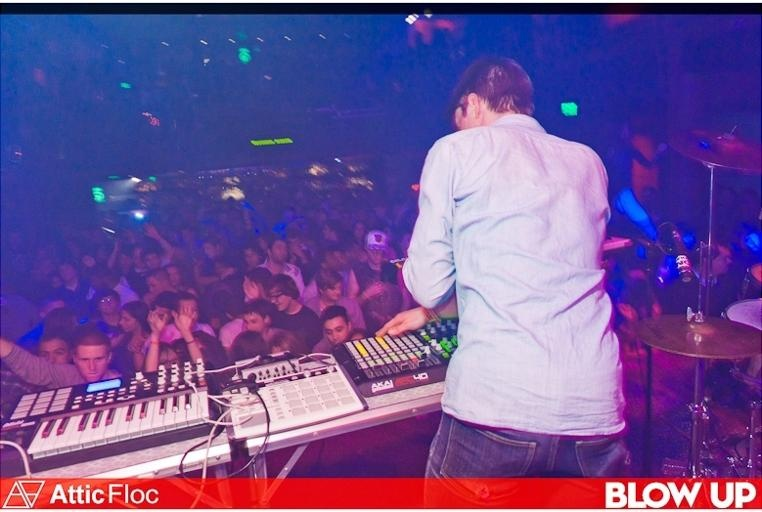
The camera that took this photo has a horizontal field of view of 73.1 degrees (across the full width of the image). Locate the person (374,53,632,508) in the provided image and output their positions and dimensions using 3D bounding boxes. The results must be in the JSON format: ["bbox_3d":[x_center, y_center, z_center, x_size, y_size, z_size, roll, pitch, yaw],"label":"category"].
[{"bbox_3d":[0.524,0.074,2.128,0.759,1.776,1.075,3,21,46],"label":"person"}]
